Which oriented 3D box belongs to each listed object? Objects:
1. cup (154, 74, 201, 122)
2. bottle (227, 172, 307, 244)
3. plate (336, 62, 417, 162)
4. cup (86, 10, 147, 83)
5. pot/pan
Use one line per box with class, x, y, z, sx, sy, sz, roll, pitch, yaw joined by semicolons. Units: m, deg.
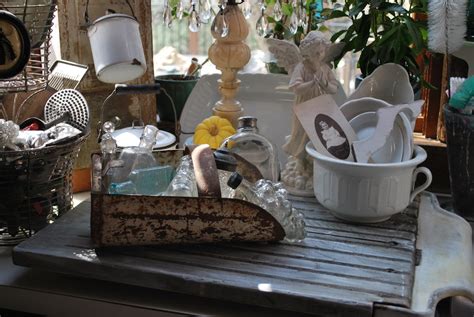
cup;-0.240;-0.240;1.805;0.175;0.161;0.177;1;9;0
bottle;0.086;0.128;1.187;0.178;0.177;0.093;-6;18;-16
plate;0.417;-0.113;1.393;0.214;0.335;0.055;7;-8;37
cup;-0.346;-0.321;1.421;0.185;0.198;0.182;-19;-7;-3
pot/pan;-0.341;-0.140;1.510;0.247;0.204;0.035;-3;16;-8
